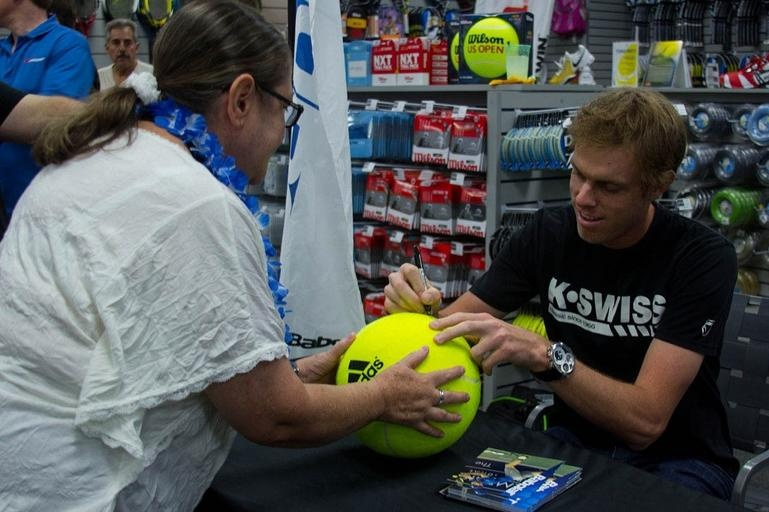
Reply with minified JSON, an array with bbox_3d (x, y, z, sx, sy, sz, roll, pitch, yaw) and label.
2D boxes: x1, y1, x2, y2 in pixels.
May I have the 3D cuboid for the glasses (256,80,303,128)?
[{"bbox_3d":[-0.312,-0.451,1.879,0.095,0.029,0.095,34,12,2],"label":"glasses"}]
